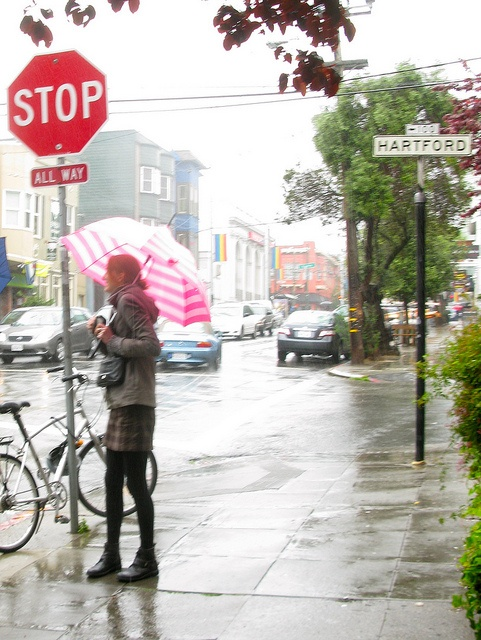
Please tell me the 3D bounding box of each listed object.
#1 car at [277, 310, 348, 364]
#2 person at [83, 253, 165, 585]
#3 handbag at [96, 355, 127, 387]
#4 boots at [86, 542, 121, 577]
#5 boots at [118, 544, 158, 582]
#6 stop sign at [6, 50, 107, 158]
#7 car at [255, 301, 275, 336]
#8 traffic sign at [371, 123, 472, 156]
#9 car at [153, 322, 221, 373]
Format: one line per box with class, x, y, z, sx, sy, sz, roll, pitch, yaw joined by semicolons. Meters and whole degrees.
car;2.283;0.473;21.761;1.295;0.975;2.508;0;3;15
person;-0.669;0.491;3.878;0.466;1.816;0.579;-4;-3;-7
handbag;-0.763;0.297;3.917;0.143;0.182;0.237;-3;-3;-28
boots;-0.751;1.327;3.746;0.093;0.147;0.251;-6;-4;23
boots;-0.578;1.308;3.615;0.103;0.152;0.263;-12;-17;39
stop sign;-1.278;-1.490;4.717;0.836;0.718;0.155;-5;-3;16
car;1.436;0.003;39.194;0.864;1.818;3.554;-5;-3;6
traffic sign;1.681;-1.653;6.293;0.870;0.372;0.278;-5;-3;11
car;-1.873;0.386;20.612;1.958;1.104;3.787;3;11;-5
